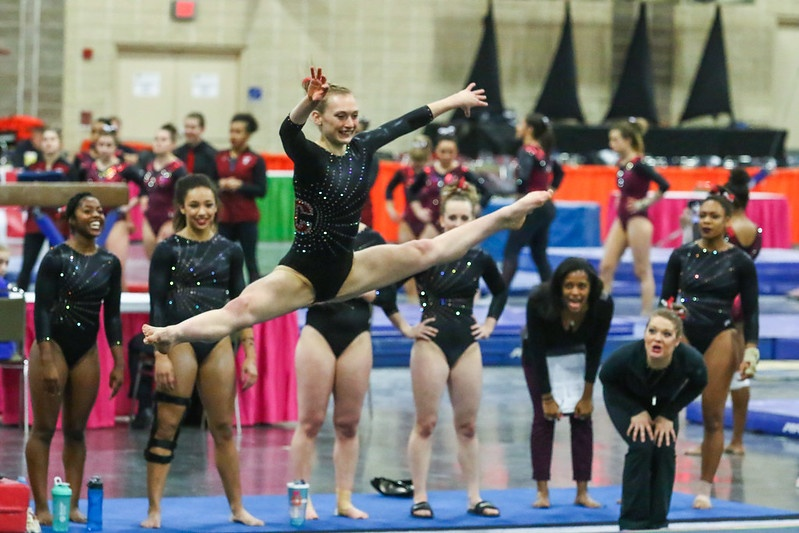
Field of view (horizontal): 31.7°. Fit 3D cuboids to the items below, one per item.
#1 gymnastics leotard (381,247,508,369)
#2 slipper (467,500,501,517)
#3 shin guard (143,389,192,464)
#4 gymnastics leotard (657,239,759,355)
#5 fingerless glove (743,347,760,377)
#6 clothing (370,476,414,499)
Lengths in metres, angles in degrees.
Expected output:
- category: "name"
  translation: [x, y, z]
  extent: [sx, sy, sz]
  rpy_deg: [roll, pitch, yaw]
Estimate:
- category: "gymnastics leotard"
  translation: [0.319, 0.342, 10.474]
  extent: [1.097, 1.330, 0.435]
  rpy_deg: [1, -8, -9]
- category: "slipper"
  translation: [0.583, 1.675, 9.629]
  extent: [0.091, 0.067, 0.200]
  rpy_deg: [1, -6, -32]
- category: "shin guard"
  translation: [-1.537, 1.142, 9.412]
  extent: [0.157, 0.322, 0.137]
  rpy_deg: [17, 6, 25]
- category: "gymnastics leotard"
  translation: [2.205, 0.254, 10.049]
  extent: [0.782, 1.003, 0.361]
  rpy_deg: [1, -16, 13]
- category: "fingerless glove"
  translation: [2.497, 0.698, 9.956]
  extent: [0.076, 0.194, 0.142]
  rpy_deg: [16, -9, -12]
- category: "clothing"
  translation: [-0.052, 1.593, 10.103]
  extent: [0.323, 0.124, 0.121]
  rpy_deg: [8, -11, 15]
